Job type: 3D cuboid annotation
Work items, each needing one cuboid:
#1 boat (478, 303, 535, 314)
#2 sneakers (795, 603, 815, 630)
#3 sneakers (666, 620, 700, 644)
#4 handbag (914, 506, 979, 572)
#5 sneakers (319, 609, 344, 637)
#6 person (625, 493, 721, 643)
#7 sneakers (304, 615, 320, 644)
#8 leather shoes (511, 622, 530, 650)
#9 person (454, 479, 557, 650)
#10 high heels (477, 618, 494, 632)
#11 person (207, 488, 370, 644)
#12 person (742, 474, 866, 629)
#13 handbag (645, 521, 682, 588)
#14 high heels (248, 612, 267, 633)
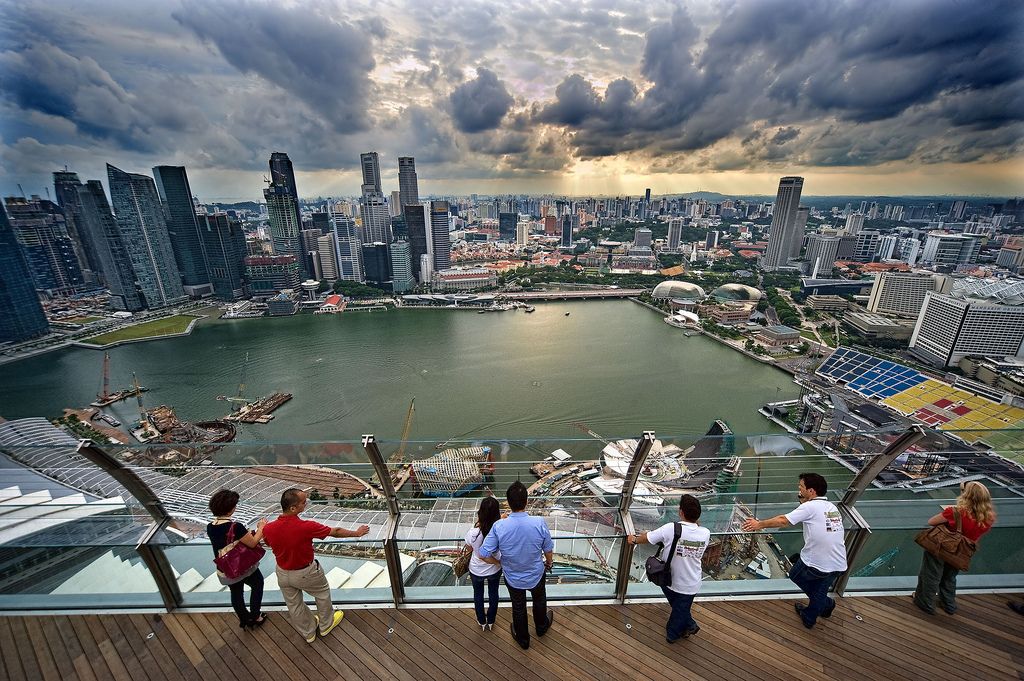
[{"bbox_3d":[-0.307,-2.328,31.120,3.834,0.440,2.457,-2,12,-1],"label":"boat"},{"bbox_3d":[1.667,1.583,2.509,0.064,0.079,0.120,-21,45,5],"label":"sneakers"},{"bbox_3d":[0.963,1.633,2.483,0.242,0.073,0.066,-17,32,-10],"label":"sneakers"},{"bbox_3d":[2.467,1.146,2.496,0.106,0.325,0.213,-19,23,-34],"label":"handbag"},{"bbox_3d":[-1.005,1.597,2.487,0.070,0.056,0.147,22,42,17],"label":"sneakers"},{"bbox_3d":[0.902,1.223,2.449,0.359,0.880,0.313,-12,20,-20],"label":"person"},{"bbox_3d":[-1.096,1.592,2.427,0.081,0.068,0.149,1,44,-2],"label":"sneakers"},{"bbox_3d":[0.034,1.633,2.442,0.076,0.057,0.153,-2,25,-20],"label":"leather shoes"},{"bbox_3d":[0.059,1.191,2.386,0.386,1.003,0.250,-19,24,-34],"label":"person"},{"bbox_3d":[-0.135,1.601,2.461,0.056,0.032,0.093,1,14,-4],"label":"high heels"},{"bbox_3d":[-1.235,1.205,2.432,0.782,0.915,0.326,-1,20,12],"label":"person"},{"bbox_3d":[1.626,1.165,2.511,0.448,0.926,0.307,9,24,36],"label":"person"},{"bbox_3d":[0.847,1.173,2.410,0.217,0.291,0.157,6,-8,-11],"label":"handbag"},{"bbox_3d":[-1.443,1.595,2.482,0.046,0.040,0.120,25,21,20],"label":"high heels"}]
